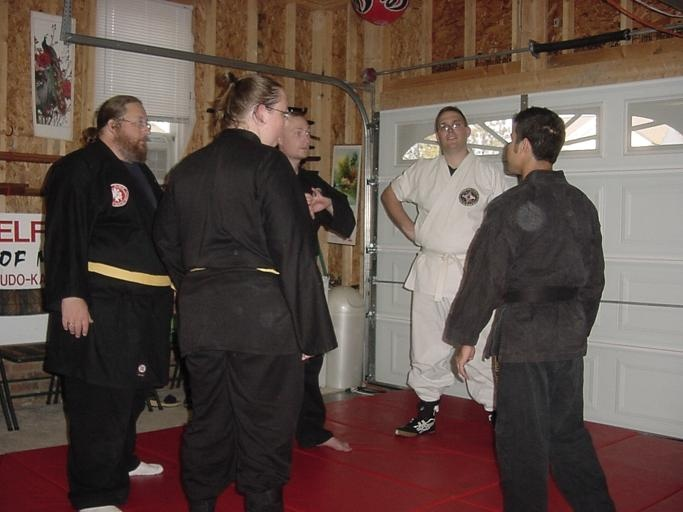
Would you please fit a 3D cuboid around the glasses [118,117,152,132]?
[{"bbox_3d":[-1.138,-0.728,3.304,0.138,0.039,0.135,1,2,41],"label":"glasses"}]

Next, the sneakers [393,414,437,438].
[{"bbox_3d":[0.539,1.186,4.225,0.320,0.128,0.106,1,1,-29],"label":"sneakers"}]

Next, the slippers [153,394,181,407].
[{"bbox_3d":[-1.469,1.211,5.076,0.156,0.053,0.100,-1,-3,-10],"label":"slippers"}]
